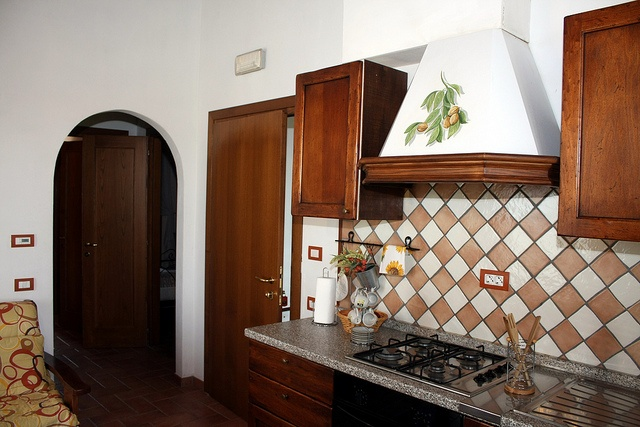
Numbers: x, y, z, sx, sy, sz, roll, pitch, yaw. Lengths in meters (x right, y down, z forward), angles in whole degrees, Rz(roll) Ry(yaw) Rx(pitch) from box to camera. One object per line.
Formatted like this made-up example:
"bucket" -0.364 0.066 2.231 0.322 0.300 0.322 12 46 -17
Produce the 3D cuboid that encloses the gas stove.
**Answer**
"gas stove" 0.747 0.774 2.611 0.984 0.265 0.597 6 8 31

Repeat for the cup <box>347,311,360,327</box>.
"cup" 0.237 0.712 3.035 0.093 0.112 0.041 5 8 25

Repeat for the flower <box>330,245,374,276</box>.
"flower" 0.240 0.332 3.129 0.233 0.112 0.229 5 -6 -44

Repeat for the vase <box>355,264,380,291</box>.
"vase" 0.327 0.460 3.170 0.203 0.173 0.220 -11 3 -11
